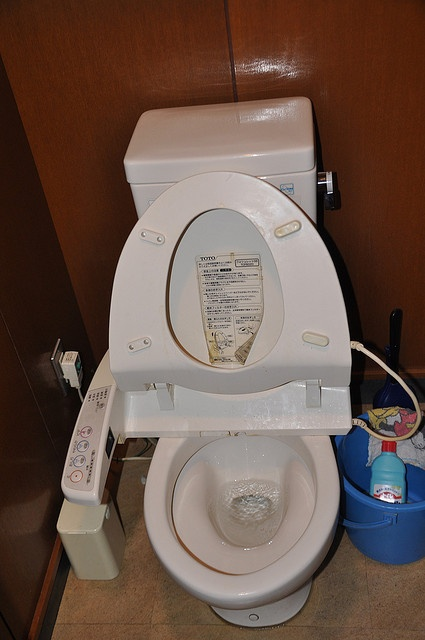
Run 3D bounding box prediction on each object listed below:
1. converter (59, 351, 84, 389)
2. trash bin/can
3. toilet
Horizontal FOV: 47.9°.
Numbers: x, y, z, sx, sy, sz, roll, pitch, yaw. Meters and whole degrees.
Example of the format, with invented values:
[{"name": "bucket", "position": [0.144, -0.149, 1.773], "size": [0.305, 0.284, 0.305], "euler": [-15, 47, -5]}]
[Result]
[{"name": "converter", "position": [-0.344, 0.122, 1.155], "size": [0.041, 0.088, 0.054], "euler": [4, 45, 0]}, {"name": "trash bin/can", "position": [-0.272, 0.499, 1.109], "size": [0.093, 0.154, 0.114], "euler": [-3, 27, 18]}, {"name": "toilet", "position": [0.046, 0.137, 0.909], "size": [0.337, 0.783, 0.773], "euler": [-2, 36, 4]}]
